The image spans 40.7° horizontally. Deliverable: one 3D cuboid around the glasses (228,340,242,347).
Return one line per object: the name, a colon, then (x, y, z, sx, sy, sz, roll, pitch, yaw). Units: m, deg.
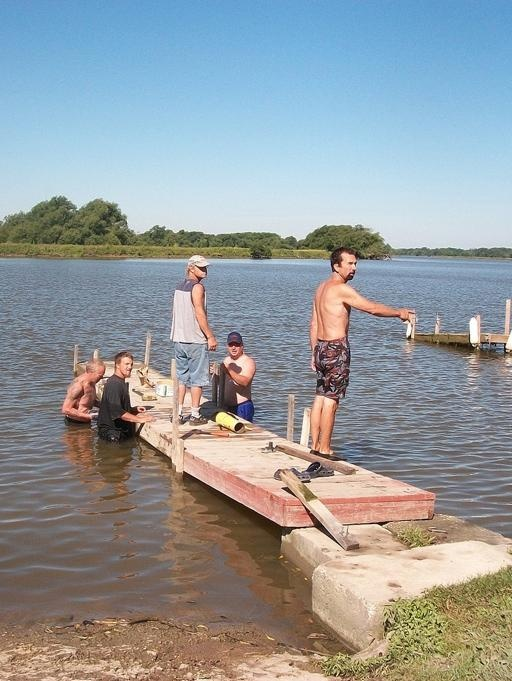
glasses: (-0.353, 0.025, 11.361, 0.181, 0.104, 0.260, -6, -14, 0)

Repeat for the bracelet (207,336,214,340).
bracelet: (-0.648, -0.039, 10.044, 0.077, 0.047, 0.074, 2, -1, -29)

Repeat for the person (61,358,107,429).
person: (-3.369, 1.078, 13.500, 0.793, 1.159, 0.765, 9, 37, -18)

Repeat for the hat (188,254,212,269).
hat: (-0.840, -1.157, 10.097, 0.325, 0.137, 0.234, 5, 8, 39)

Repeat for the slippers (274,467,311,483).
slippers: (0.401, 1.459, 7.506, 0.403, 0.160, 0.514, 1, 5, 0)

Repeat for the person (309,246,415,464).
person: (1.008, 0.172, 8.159, 0.606, 2.536, 1.436, -1, 7, -22)

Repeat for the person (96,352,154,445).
person: (-2.269, 0.968, 11.659, 0.731, 1.543, 0.924, 0, 6, -17)
